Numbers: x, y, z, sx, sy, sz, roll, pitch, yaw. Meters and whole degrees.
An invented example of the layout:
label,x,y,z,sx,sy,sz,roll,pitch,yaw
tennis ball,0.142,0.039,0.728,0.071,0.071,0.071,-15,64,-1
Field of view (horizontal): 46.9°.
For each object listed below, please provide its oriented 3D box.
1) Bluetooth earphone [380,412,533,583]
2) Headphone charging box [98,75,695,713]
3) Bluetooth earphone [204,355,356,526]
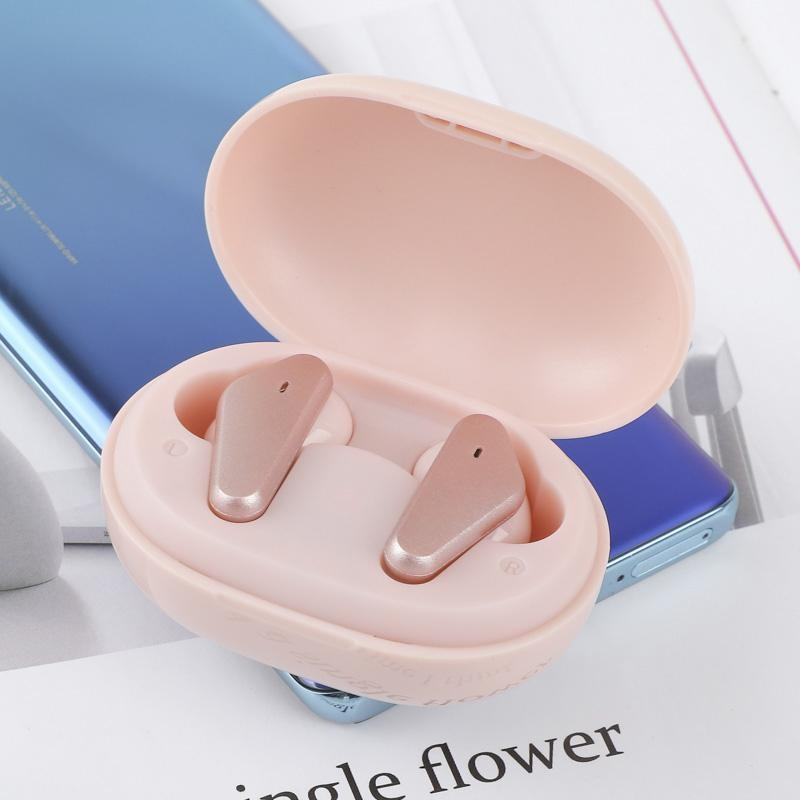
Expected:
label,x,y,z,sx,sy,sz,roll,pitch,yaw
Bluetooth earphone,0.047,0.051,0.583,0.067,0.126,0.026,22,34,-6
Headphone charging box,-0.028,-0.013,0.560,0.331,0.258,0.311,15,53,27
Bluetooth earphone,-0.090,0.020,0.604,0.083,0.034,0.139,14,44,12
